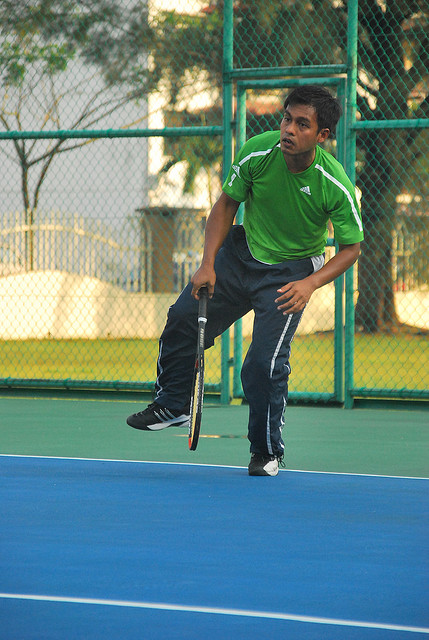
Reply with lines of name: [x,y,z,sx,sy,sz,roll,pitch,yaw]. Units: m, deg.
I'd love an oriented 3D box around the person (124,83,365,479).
person: [0.192,-0.156,3.173,0.516,1.515,0.779,-2,3,-41]
